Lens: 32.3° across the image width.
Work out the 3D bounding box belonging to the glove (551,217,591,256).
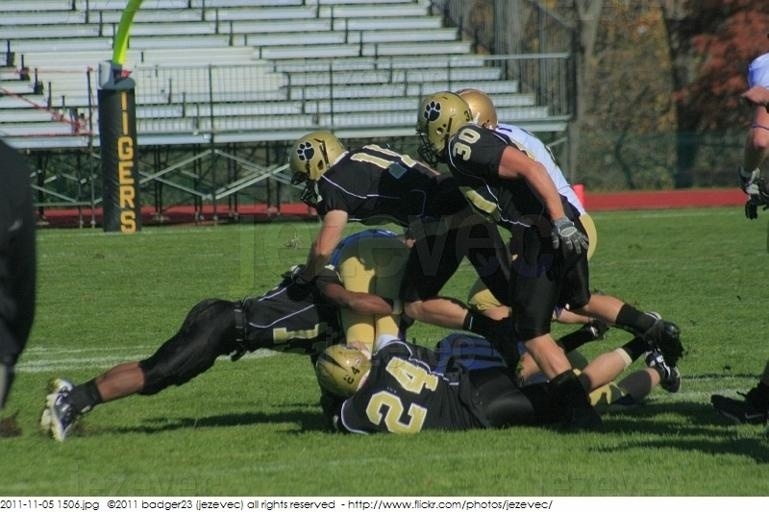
[{"bbox_3d":[2.195,-0.204,15.657,0.427,0.430,0.114,42,-22,2],"label":"glove"}]

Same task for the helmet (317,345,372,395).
[{"bbox_3d":[-0.479,1.355,15.666,0.525,0.482,0.622,-9,6,-38],"label":"helmet"}]
